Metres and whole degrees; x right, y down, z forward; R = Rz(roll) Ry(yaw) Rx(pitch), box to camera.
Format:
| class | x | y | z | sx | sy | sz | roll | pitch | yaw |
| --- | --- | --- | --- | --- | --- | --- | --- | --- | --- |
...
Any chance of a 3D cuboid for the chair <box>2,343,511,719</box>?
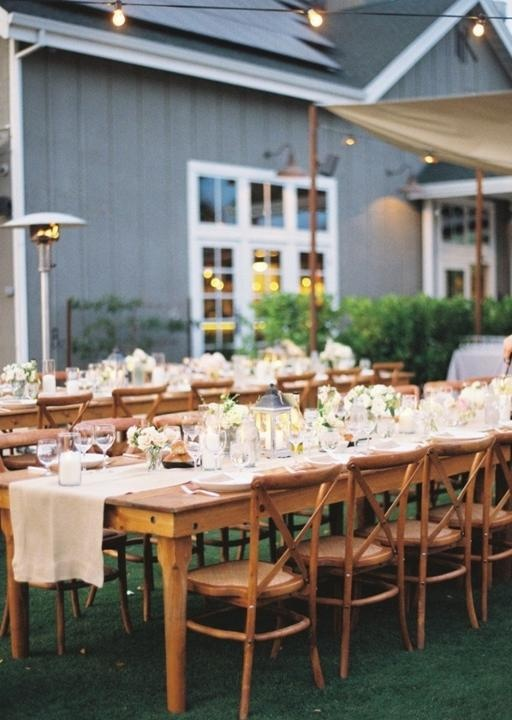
| class | x | y | z | sx | sy | sz | roll | pitch | yaw |
| --- | --- | --- | --- | --- | --- | --- | --- | --- | --- |
| chair | 0.004 | 0.748 | 3.813 | 2.037 | 0.836 | 1.286 | -7 | 6 | -40 |
